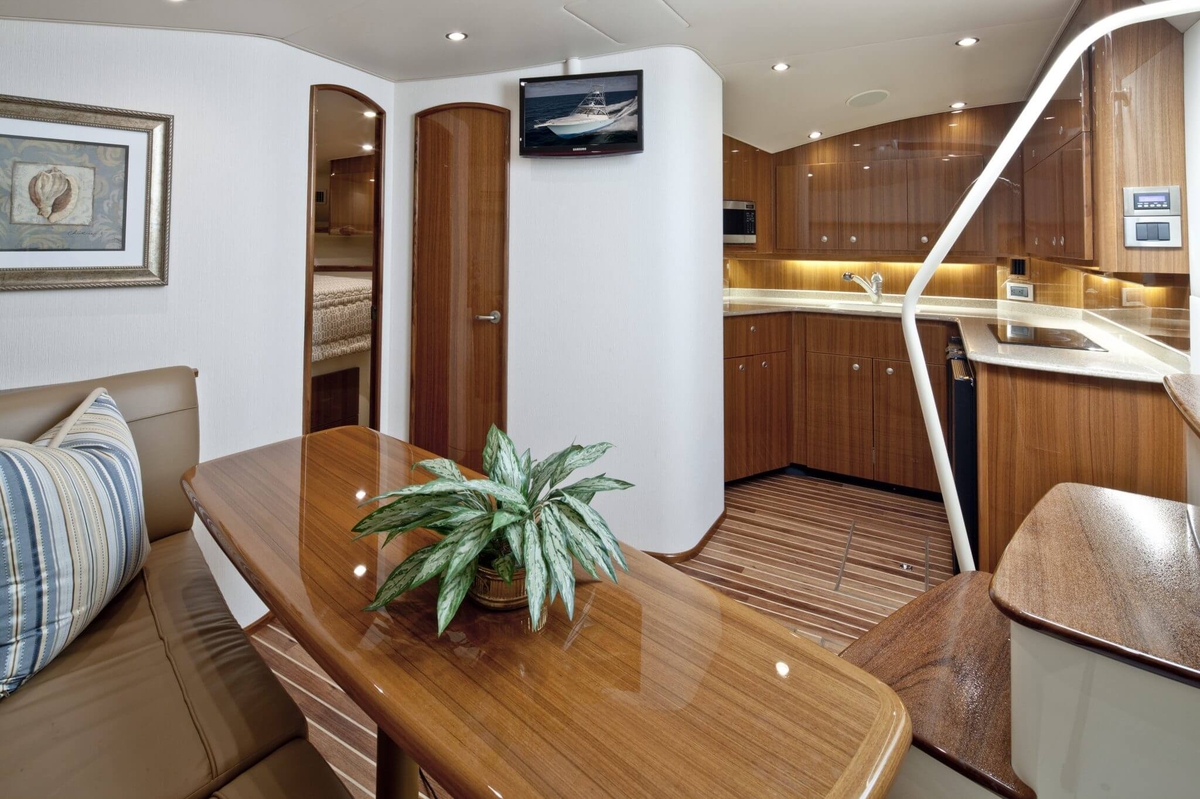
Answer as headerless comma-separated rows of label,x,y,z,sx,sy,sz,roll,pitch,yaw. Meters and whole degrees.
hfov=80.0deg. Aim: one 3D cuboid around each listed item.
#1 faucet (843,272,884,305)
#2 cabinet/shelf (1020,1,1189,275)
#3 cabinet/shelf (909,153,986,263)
faucet,2.048,-0.888,5.576,0.310,0.210,0.166,4,14,21
cabinet/shelf,2.335,-1.235,3.348,0.321,1.216,1.200,2,14,13
cabinet/shelf,2.385,-1.333,4.883,0.469,0.727,0.175,5,14,26
